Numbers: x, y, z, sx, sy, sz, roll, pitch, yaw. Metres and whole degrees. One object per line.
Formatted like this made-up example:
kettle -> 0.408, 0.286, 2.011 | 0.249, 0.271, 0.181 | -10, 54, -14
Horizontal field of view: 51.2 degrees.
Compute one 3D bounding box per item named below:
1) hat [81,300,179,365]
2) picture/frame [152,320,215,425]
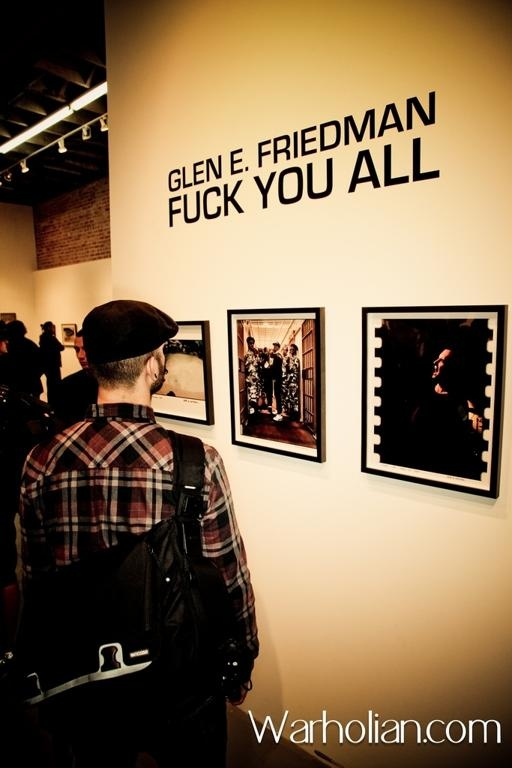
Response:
hat -> -0.354, -0.145, 1.544 | 0.161, 0.129, 0.225 | 15, 25, 31
picture/frame -> -0.287, -0.058, 2.248 | 0.351, 0.440, 0.039 | 16, 18, 39
